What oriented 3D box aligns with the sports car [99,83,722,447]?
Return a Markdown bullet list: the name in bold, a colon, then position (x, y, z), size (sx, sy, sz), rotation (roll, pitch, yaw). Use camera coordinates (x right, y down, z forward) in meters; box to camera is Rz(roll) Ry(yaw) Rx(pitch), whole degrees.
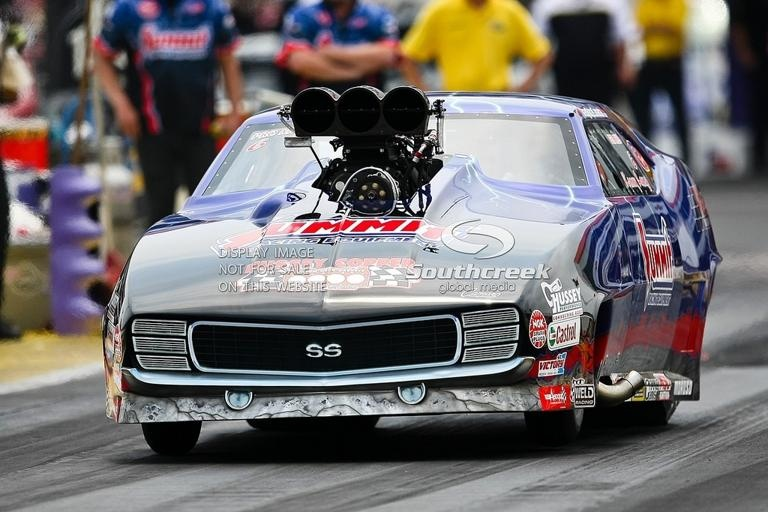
- **sports car**: position (0.311, -0.169, 6.878), size (2.830, 1.437, 4.028), rotation (1, 9, 15)
